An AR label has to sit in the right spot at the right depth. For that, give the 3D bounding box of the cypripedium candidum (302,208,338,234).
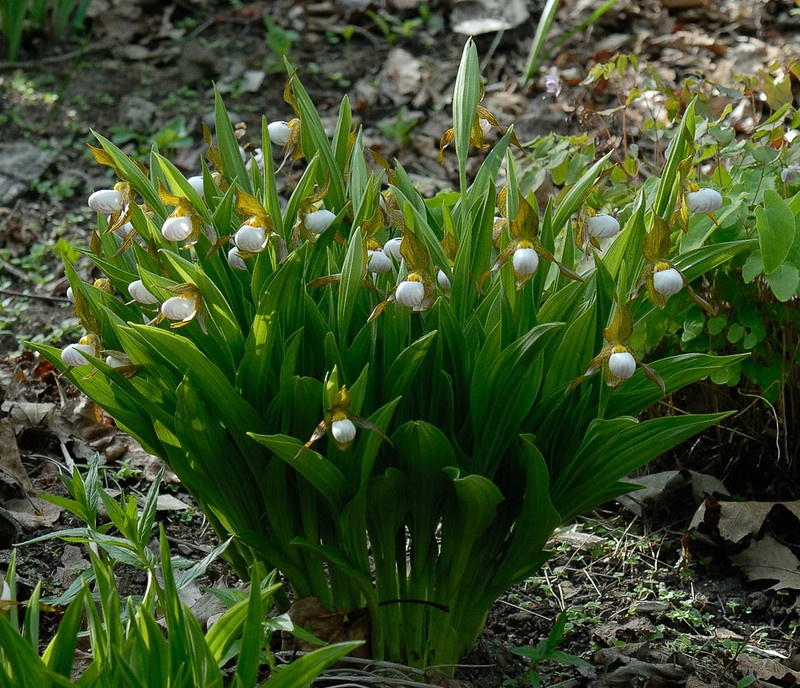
[{"bbox_3d":[-0.208,-0.315,2.216,0.081,0.083,0.061,-2,34,-9],"label":"cypripedium candidum"}]

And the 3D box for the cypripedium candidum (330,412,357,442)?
[{"bbox_3d":[-0.131,0.189,1.936,0.052,0.049,0.052,-1,35,-7],"label":"cypripedium candidum"}]

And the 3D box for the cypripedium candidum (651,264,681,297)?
[{"bbox_3d":[0.631,-0.138,2.026,0.049,0.058,0.079,-8,51,-6],"label":"cypripedium candidum"}]

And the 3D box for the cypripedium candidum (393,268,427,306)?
[{"bbox_3d":[0.026,-0.128,2.030,0.077,0.067,0.064,0,35,-6],"label":"cypripedium candidum"}]

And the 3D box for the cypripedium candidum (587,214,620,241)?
[{"bbox_3d":[0.528,-0.318,2.201,0.074,0.063,0.074,-1,66,11],"label":"cypripedium candidum"}]

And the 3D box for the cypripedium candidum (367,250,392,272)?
[{"bbox_3d":[-0.052,-0.205,2.104,0.046,0.056,0.052,-2,26,-3],"label":"cypripedium candidum"}]

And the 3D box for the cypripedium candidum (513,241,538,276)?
[{"bbox_3d":[0.304,-0.216,2.087,0.061,0.068,0.095,0,64,9],"label":"cypripedium candidum"}]

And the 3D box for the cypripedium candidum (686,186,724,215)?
[{"bbox_3d":[0.758,-0.368,2.137,0.061,0.050,0.074,-1,24,9],"label":"cypripedium candidum"}]
